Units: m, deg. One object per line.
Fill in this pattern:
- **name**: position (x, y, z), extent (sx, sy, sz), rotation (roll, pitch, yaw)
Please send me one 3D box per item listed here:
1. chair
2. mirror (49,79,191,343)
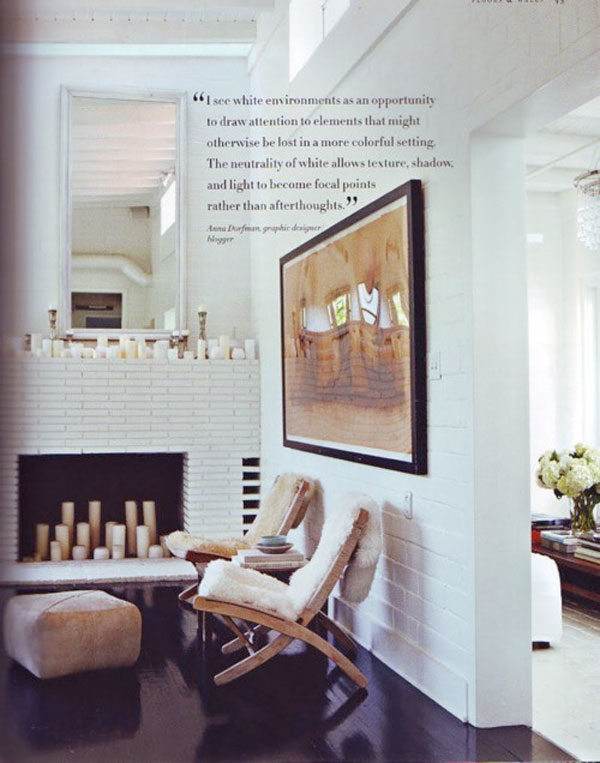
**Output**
- **chair**: position (-0.154, 0.834, 3.063), extent (0.829, 0.765, 1.484), rotation (2, -3, -15)
- **mirror**: position (-0.876, -0.896, 3.350), extent (0.628, 1.284, 0.563), rotation (2, -3, -14)
